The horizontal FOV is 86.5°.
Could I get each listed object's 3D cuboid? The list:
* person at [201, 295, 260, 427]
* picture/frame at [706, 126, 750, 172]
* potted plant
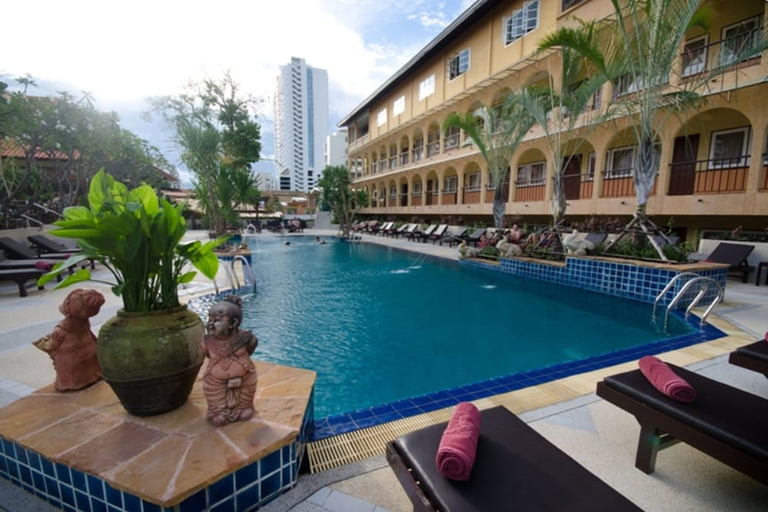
[{"bbox_3d":[-1.794,1.193,4.798,0.629,1.431,0.363,-4,10,-19],"label":"person"},{"bbox_3d":[11.528,-3.490,13.634,0.063,1.442,1.241,-6,10,-22],"label":"picture/frame"},{"bbox_3d":[-3.475,0.196,6.067,2.445,3.281,2.786,5,9,19],"label":"potted plant"}]
